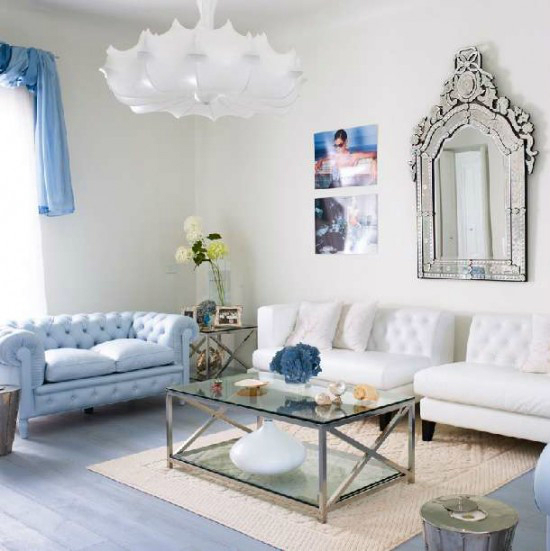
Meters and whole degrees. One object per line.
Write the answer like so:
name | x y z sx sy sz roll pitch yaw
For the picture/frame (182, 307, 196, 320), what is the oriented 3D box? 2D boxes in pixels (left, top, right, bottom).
picture/frame | -0.855 0.370 5.120 0.161 0.173 0.089 1 0 12

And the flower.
flower | -0.785 -0.152 5.525 0.517 0.928 0.780 0 -1 -6

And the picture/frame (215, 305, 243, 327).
picture/frame | -0.469 0.402 5.075 0.169 0.156 0.063 0 -12 7

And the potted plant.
potted plant | 0.130 0.538 2.861 0.245 0.273 0.247 -1 -2 -45
